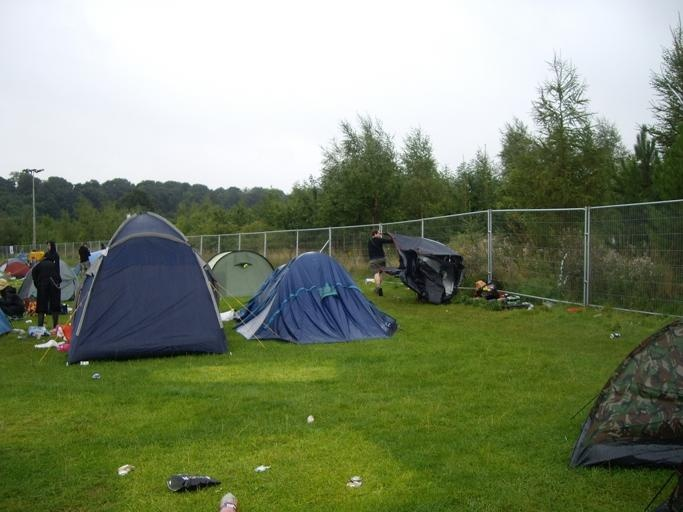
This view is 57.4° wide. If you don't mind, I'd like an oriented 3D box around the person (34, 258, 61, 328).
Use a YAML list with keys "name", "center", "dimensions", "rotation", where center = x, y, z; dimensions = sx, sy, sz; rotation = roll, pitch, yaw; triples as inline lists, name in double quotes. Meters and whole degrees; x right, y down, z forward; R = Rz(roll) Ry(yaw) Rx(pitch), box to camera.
- name: "person"
  center: [-6.840, 0.852, 14.516]
  dimensions: [0.554, 1.738, 0.602]
  rotation: [-5, 10, -28]

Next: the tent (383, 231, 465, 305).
- name: "tent"
  center: [2.491, 0.432, 17.889]
  dimensions: [1.950, 1.877, 0.869]
  rotation: [0, 9, 5]

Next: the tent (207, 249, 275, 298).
- name: "tent"
  center: [-3.644, 0.549, 21.641]
  dimensions: [1.696, 1.267, 1.747]
  rotation: [0, -2, -31]

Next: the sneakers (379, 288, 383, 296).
- name: "sneakers"
  center: [1.242, 1.133, 19.809]
  dimensions: [0.083, 0.309, 0.188]
  rotation: [-2, 3, 4]

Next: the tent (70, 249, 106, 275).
- name: "tent"
  center: [-9.045, 0.200, 22.070]
  dimensions: [1.185, 0.608, 1.115]
  rotation: [-14, 13, 19]

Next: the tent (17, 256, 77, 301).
- name: "tent"
  center: [-9.034, 0.884, 19.070]
  dimensions: [1.710, 1.854, 1.832]
  rotation: [0, 0, -19]

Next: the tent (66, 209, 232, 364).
- name: "tent"
  center: [-4.128, 0.700, 13.075]
  dimensions: [2.066, 2.249, 2.961]
  rotation: [0, -4, -22]
